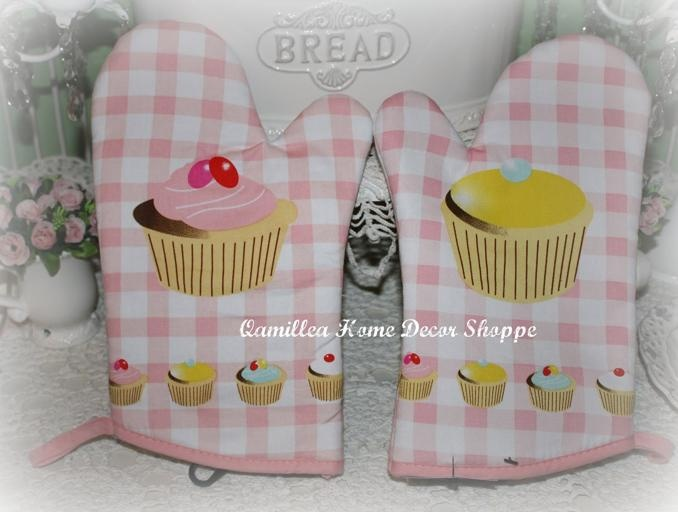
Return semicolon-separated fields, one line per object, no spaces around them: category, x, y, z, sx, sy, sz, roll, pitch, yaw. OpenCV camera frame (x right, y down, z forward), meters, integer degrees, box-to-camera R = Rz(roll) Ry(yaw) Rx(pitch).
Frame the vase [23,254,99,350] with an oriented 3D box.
vase;-0.762;0.115;1.929;0.187;0.229;0.183;-3;6;-17
